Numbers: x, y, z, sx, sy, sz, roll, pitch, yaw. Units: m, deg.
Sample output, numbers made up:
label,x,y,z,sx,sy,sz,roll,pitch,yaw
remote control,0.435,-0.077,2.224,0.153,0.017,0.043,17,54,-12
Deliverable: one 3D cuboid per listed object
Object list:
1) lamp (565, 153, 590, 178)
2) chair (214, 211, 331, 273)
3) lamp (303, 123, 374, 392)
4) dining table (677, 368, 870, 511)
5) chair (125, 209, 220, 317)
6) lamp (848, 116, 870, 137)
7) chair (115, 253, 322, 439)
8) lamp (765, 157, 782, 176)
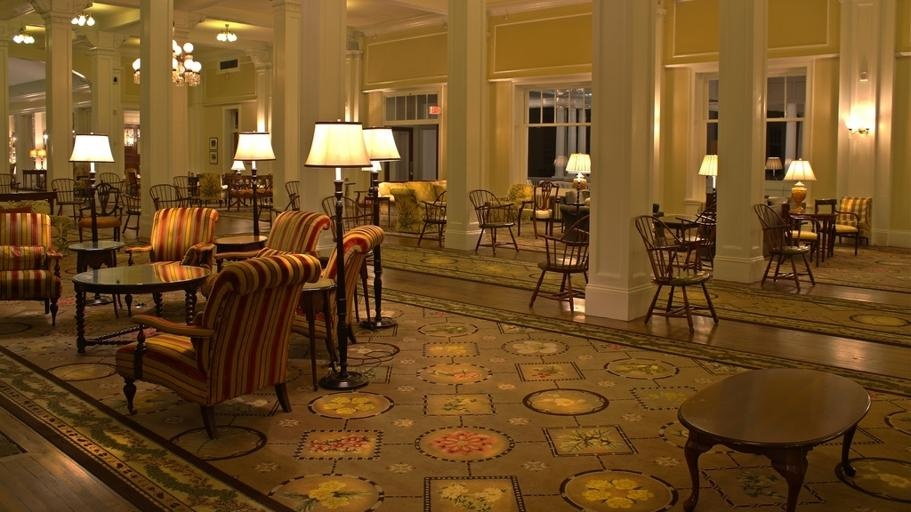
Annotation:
label,x,y,z,sx,sy,sz,roll,pitch,yaw
lamp,2.746,-1.986,12.551,0.407,0.443,0.558,2,8,20
chair,-2.119,-0.246,7.077,0.909,0.670,1.290,8,12,44
lamp,-1.045,0.000,5.261,0.552,2.406,0.523,3,9,25
dining table,2.077,1.043,3.726,0.910,0.522,1.297,4,12,45
chair,-3.884,-0.082,7.905,1.329,1.433,1.434,1,3,8
lamp,8.383,-2.687,11.882,0.452,0.347,0.406,1,6,3
chair,-1.880,0.580,5.118,1.807,1.448,1.364,5,5,34
lamp,7.324,-2.048,13.064,0.333,0.388,0.466,3,8,28
